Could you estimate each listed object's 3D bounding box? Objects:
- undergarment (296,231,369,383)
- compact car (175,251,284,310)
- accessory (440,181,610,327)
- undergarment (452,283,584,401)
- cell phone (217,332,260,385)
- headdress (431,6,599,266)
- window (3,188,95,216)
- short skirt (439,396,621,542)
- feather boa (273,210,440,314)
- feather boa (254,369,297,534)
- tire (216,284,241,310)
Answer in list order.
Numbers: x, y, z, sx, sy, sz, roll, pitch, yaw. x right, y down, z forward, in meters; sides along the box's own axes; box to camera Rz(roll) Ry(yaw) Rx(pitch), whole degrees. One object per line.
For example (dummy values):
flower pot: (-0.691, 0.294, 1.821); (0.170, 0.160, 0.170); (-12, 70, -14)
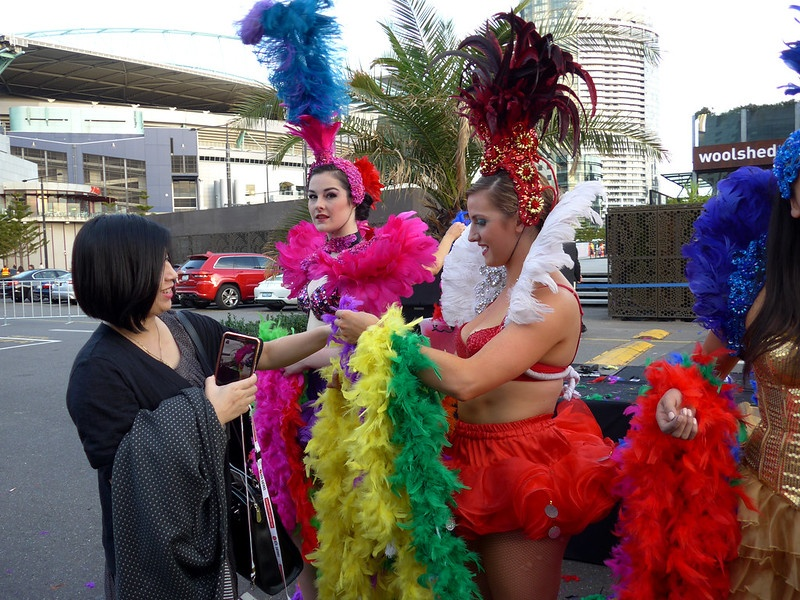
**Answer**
undergarment: (-0.366, -0.076, 3.121); (0.177, 0.321, 0.474); (17, 20, 19)
compact car: (-4.654, -0.465, 17.006); (3.475, 1.317, 1.571); (-6, 4, -44)
accessory: (0.495, -0.167, 2.666); (0.488, 0.648, 0.834); (-4, 9, -17)
undergarment: (0.513, 0.219, 2.533); (0.362, 0.332, 0.259); (-7, -1, 21)
cell phone: (-0.648, 0.241, 2.449); (0.144, 0.240, 0.025); (10, 22, -20)
headdress: (0.410, -0.754, 2.676); (0.831, 1.007, 0.598); (6, 25, 37)
window: (-23.463, -6.829, 42.786); (3.164, 0.946, 3.171); (1, 2, 27)
short skirt: (0.491, 0.726, 2.728); (0.935, 0.421, 0.816); (-2, 1, -45)
feather boa: (-0.192, -0.182, 3.187); (0.617, 0.346, 0.695); (-22, 11, -24)
feather boa: (-0.649, 0.748, 3.181); (0.239, 0.659, 0.492); (-1, -5, -5)
tire: (-5.034, -0.113, 18.112); (0.218, 0.592, 0.609); (10, -12, 33)
